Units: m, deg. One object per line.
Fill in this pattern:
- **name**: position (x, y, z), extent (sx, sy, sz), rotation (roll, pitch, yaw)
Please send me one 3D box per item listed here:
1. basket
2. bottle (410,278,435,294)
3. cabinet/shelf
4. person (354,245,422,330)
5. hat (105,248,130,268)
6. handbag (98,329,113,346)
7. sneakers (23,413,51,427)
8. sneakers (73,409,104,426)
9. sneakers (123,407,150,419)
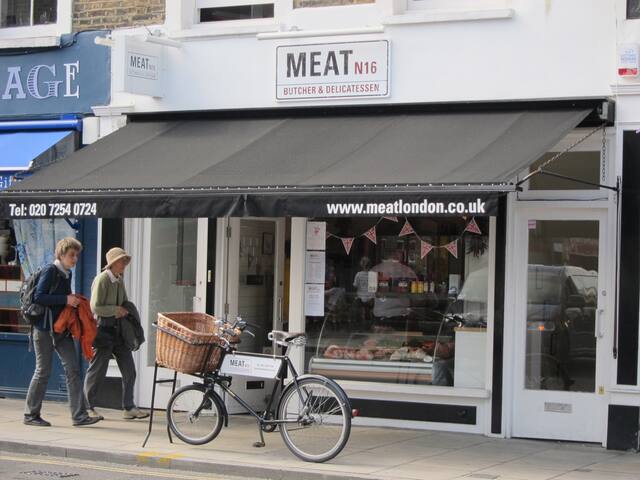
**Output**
- **basket**: position (-1.458, 1.235, 13.502), extent (0.763, 0.556, 0.918), rotation (7, -9, 44)
- **bottle**: position (1.342, 0.614, 14.679), extent (0.294, 0.165, 0.197), rotation (1, -2, 14)
- **cabinet/shelf**: position (0.972, 1.311, 15.103), extent (1.909, 1.215, 1.075), rotation (-2, 2, 34)
- **person**: position (0.813, 0.693, 14.829), extent (1.009, 0.934, 0.249), rotation (-2, -4, 20)
- **hat**: position (-2.671, 0.179, 14.681), extent (0.286, 0.159, 0.289), rotation (-20, -11, -7)
- **handbag**: position (-2.827, 1.279, 14.720), extent (0.227, 0.206, 0.128), rotation (2, -2, -42)
- **sneakers**: position (-3.636, 2.314, 14.416), extent (0.317, 0.122, 0.150), rotation (1, -3, 1)
- **sneakers**: position (-3.014, 2.294, 14.478), extent (0.428, 0.178, 0.155), rotation (-2, 1, -10)
- **sneakers**: position (-2.512, 2.315, 15.012), extent (0.426, 0.188, 0.170), rotation (-1, 0, 2)
